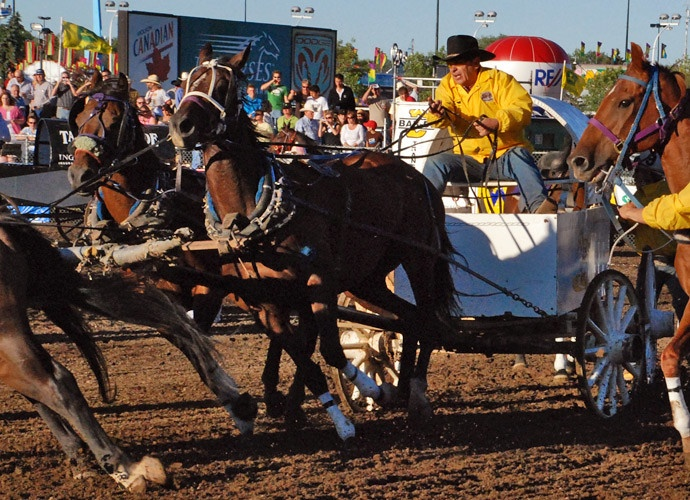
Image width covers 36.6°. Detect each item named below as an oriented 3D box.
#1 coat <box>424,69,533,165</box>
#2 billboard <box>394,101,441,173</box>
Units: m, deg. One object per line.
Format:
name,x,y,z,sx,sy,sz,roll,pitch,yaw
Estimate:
coat,1.073,-1.112,8.433,0.798,0.722,0.968,-1,10,36
billboard,0.670,-1.220,10.866,0.597,0.669,0.510,-8,13,-39
